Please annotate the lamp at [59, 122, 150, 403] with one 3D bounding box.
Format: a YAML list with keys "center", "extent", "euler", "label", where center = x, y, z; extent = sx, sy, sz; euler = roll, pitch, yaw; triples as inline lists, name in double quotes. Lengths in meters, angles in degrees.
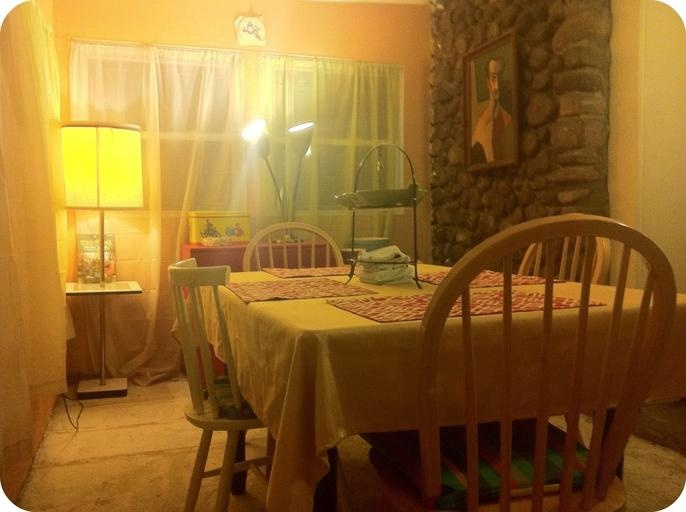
- center: [-1.632, 0.033, 3.667]
  extent: [0.531, 1.833, 0.528]
  euler: [-3, 7, -18]
  label: "lamp"
